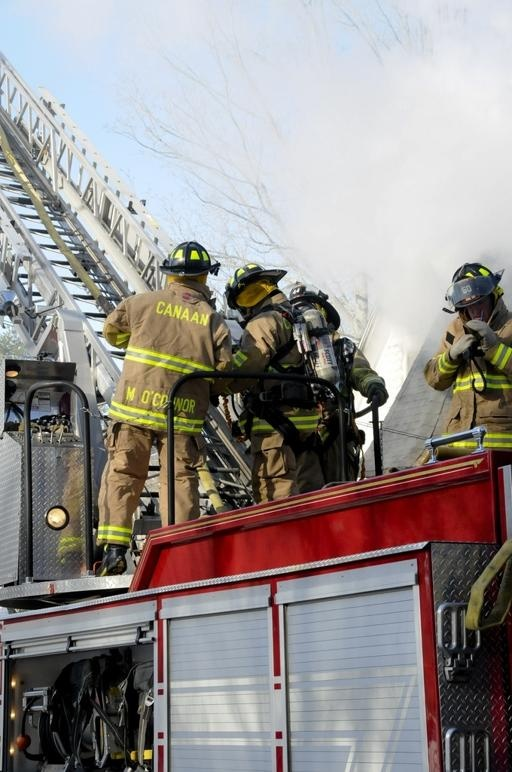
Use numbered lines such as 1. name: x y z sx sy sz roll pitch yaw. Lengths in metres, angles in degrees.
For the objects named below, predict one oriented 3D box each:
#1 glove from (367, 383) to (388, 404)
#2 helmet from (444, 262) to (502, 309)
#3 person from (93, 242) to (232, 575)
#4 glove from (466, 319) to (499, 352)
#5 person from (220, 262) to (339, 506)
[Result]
1. glove: 0.594 0.056 5.816 0.091 0.130 0.230 -3 -12 5
2. helmet: 1.026 -0.467 5.624 0.211 0.190 0.244 -29 -23 29
3. person: -0.408 0.056 5.259 0.622 1.547 0.647 -2 -12 -3
4. glove: 1.004 -0.221 5.297 0.150 0.055 0.108 32 -28 32
5. person: 0.081 -0.046 5.795 0.454 1.218 0.897 -3 -12 2
